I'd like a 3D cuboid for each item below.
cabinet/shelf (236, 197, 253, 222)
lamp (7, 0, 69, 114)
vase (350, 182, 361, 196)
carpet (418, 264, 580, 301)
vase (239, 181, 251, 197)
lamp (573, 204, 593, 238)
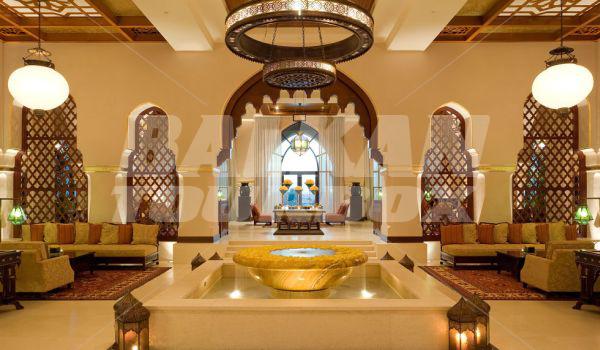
[{"bbox_3d":[-2.477,1.570,17.996,0.751,0.967,0.766,-1,-5,4],"label":"cabinet/shelf"},{"bbox_3d":[-6.031,-2.745,9.312,1.017,2.938,2.724,0,0,-35],"label":"lamp"},{"bbox_3d":[2.403,0.616,17.459,0.452,0.605,0.361,0,0,7],"label":"vase"},{"bbox_3d":[4.500,2.530,9.493,2.969,0.021,2.123,29,-31,-30],"label":"carpet"},{"bbox_3d":[-2.396,0.670,17.708,0.790,0.745,0.542,0,-11,-5],"label":"vase"},{"bbox_3d":[7.504,1.165,10.790,0.482,0.704,0.481,-4,3,-26],"label":"lamp"}]
